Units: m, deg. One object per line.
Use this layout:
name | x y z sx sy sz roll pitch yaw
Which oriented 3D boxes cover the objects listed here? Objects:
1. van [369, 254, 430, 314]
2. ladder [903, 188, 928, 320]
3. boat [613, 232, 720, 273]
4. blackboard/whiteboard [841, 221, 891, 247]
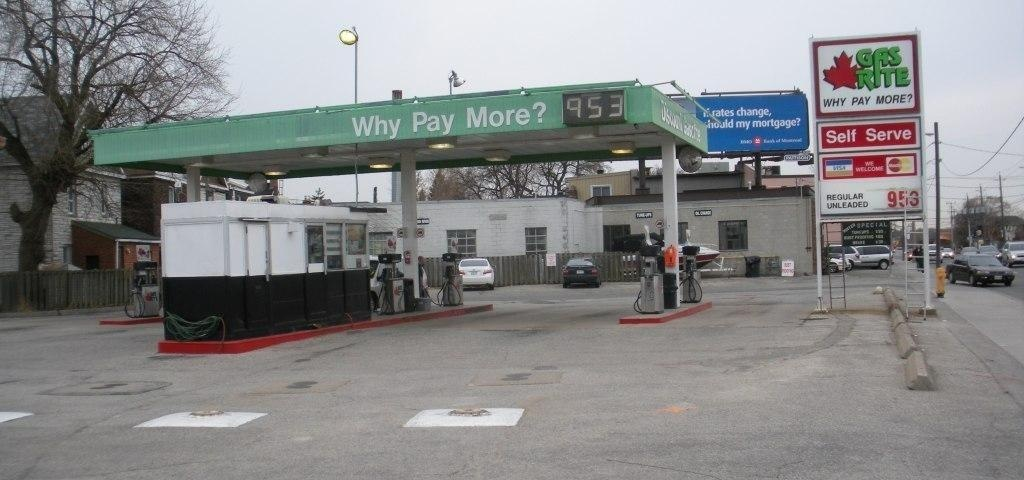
van | -5.800 1.973 34.940 2.748 3.539 4.314 -2 -1 19
ladder | 20.961 0.963 37.831 1.616 5.497 1.275 0 0 9
boat | 10.934 1.113 54.280 11.654 3.191 3.026 -1 5 6
blackboard/whiteboard | 17.348 -0.311 35.539 1.839 1.083 2.130 -5 -3 31
